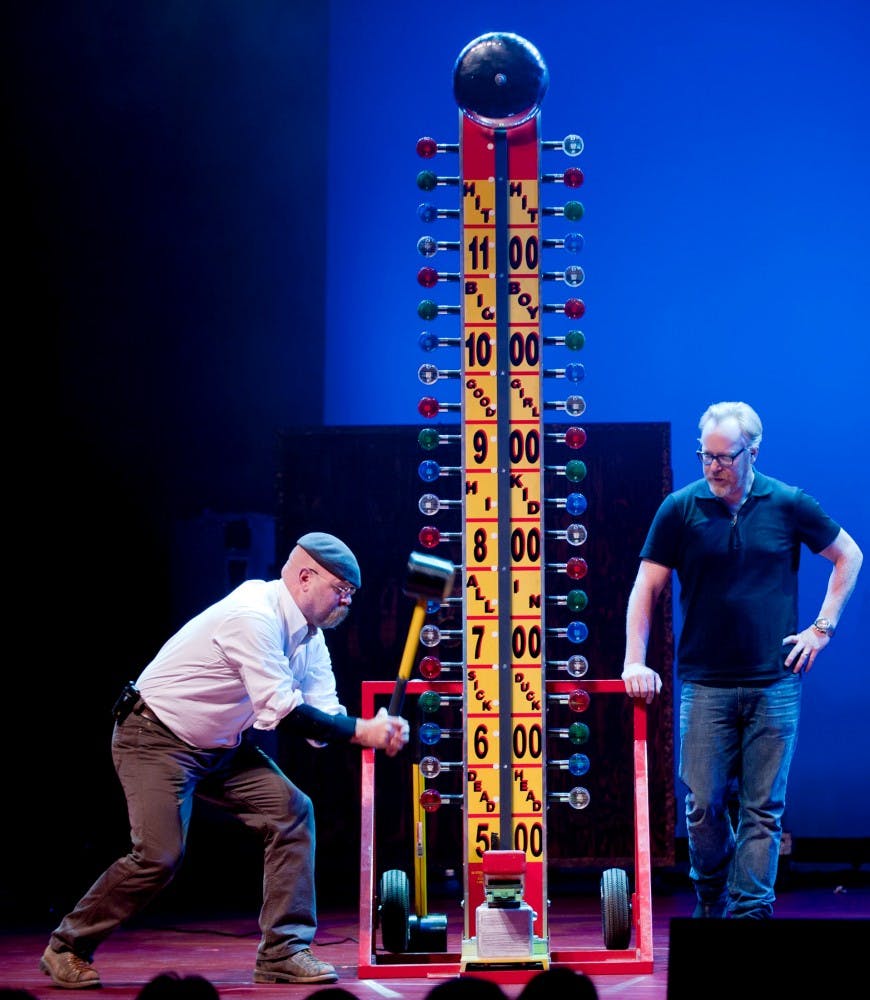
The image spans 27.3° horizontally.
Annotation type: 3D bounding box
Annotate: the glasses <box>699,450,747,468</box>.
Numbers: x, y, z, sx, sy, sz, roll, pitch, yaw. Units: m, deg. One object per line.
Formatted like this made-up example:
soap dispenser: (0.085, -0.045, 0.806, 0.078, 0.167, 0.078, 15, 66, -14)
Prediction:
glasses: (0.768, -0.112, 4.765, 0.115, 0.054, 0.069, 2, -3, 12)

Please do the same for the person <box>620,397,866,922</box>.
person: (0.799, 0.426, 4.785, 0.626, 1.418, 0.467, 2, -3, 14)

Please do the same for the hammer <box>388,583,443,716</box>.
hammer: (-0.051, 0.394, 4.597, 0.111, 0.299, 0.112, 3, -2, 4)

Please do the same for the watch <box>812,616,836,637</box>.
watch: (1.039, 0.335, 4.773, 0.055, 0.020, 0.041, -12, 32, -29)

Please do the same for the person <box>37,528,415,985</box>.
person: (-0.562, 0.586, 4.815, 0.683, 1.237, 0.788, 2, 0, -4)
